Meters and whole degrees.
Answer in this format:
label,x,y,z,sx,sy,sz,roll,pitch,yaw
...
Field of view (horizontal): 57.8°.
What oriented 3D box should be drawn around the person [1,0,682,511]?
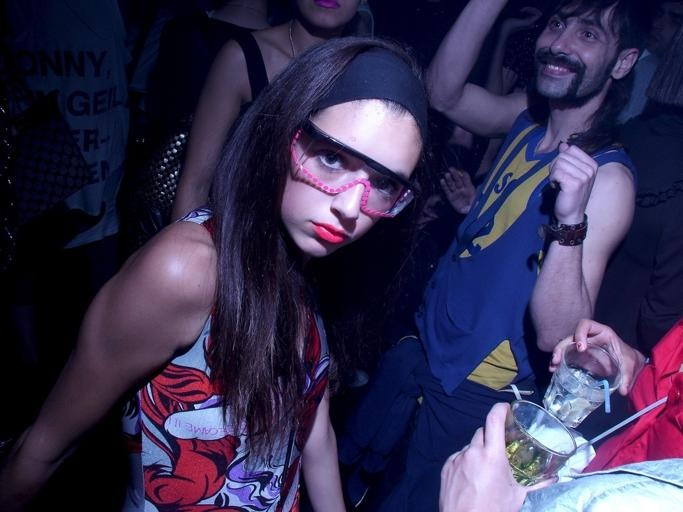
label,x,y,z,sx,sy,sz,roll,pitch,yaw
person,-0.384,0.065,2.151,1.172,1.723,0.629,11,19,-5
